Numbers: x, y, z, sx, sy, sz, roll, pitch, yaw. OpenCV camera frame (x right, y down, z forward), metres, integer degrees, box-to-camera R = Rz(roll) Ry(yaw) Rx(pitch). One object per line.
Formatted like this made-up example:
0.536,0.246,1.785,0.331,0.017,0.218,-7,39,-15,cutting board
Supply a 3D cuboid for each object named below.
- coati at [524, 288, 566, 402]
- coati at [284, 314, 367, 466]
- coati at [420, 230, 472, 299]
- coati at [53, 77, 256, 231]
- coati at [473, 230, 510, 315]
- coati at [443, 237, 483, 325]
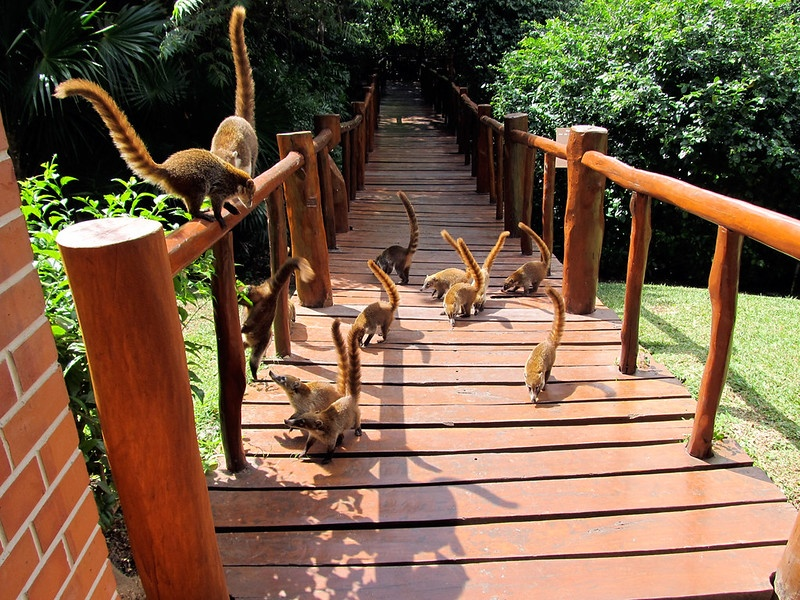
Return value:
0.895,0.272,3.743,0.136,0.563,0.604,13,41,24,coati
-0.373,0.484,3.203,0.196,0.660,0.532,11,22,40,coati
0.398,-0.277,5.118,0.472,0.560,0.220,-14,10,-17,coati
-0.974,-0.596,2.610,0.843,0.529,0.255,-6,22,-44,coati
0.818,-0.231,5.409,0.144,0.812,0.336,25,24,36,coati
0.459,-0.153,4.671,0.162,0.605,0.510,6,22,39,coati
